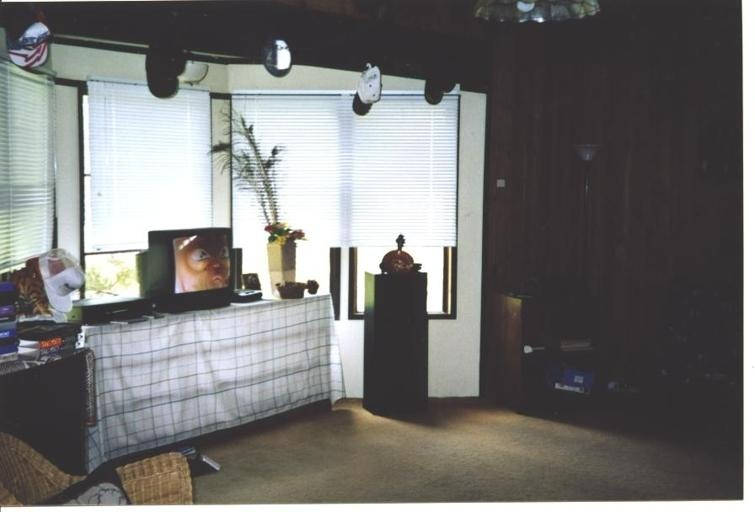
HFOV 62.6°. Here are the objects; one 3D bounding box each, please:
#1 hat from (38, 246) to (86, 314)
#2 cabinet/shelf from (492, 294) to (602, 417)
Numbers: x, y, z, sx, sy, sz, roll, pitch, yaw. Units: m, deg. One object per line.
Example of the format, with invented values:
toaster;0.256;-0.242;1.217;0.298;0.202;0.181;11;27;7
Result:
hat;-2.565;0.159;5.154;0.277;0.530;0.334;-18;-3;17
cabinet/shelf;1.699;0.952;6.231;0.990;1.112;0.417;-1;9;3
